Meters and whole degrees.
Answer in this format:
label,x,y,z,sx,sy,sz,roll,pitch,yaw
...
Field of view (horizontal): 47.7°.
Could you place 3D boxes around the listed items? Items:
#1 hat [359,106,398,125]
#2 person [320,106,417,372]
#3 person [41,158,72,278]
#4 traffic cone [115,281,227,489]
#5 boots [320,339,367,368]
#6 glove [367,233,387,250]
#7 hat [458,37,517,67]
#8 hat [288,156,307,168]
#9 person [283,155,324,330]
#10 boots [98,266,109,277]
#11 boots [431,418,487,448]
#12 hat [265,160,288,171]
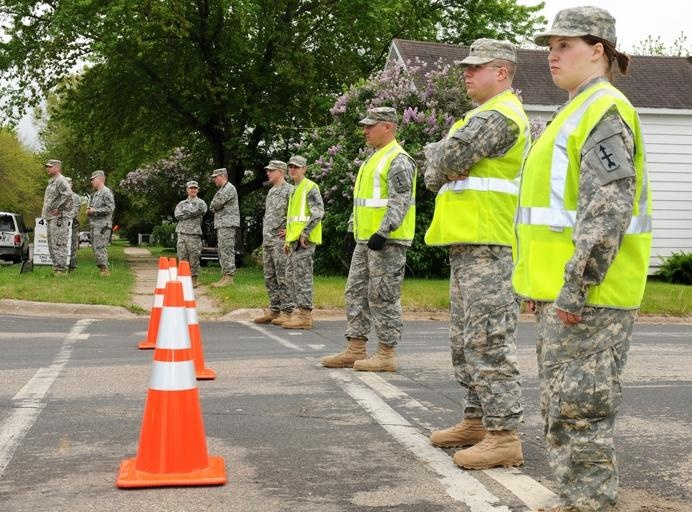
label,x,y,z,sx,sy,sz,roll,pitch,yaw
hat,0.348,-1.417,8.006,0.348,0.126,0.219,-3,10,-9
person,0.337,-0.149,7.992,0.665,2.168,0.873,-1,0,-20
person,-6.088,-0.825,16.592,0.561,2.440,0.933,-1,0,-21
traffic cone,-1.165,0.845,5.253,0.715,0.931,0.295,-1,0,-9
boots,0.009,1.060,8.403,0.598,0.338,0.217,2,-3,-1
glove,0.303,-0.131,7.693,0.174,0.155,0.166,7,-5,15
hat,1.076,-1.503,5.779,0.344,0.121,0.233,-9,17,-20
hat,-0.667,-1.317,10.759,0.225,0.148,0.305,2,-8,14
person,-0.591,-0.186,10.679,0.547,1.797,0.799,-1,0,-6
boots,-5.251,0.350,17.185,0.201,0.257,0.283,0,-9,-2
boots,0.853,1.341,5.936,0.518,0.225,0.170,2,-1,0
hat,-1.046,-1.406,11.916,0.341,0.111,0.227,1,-2,-29
